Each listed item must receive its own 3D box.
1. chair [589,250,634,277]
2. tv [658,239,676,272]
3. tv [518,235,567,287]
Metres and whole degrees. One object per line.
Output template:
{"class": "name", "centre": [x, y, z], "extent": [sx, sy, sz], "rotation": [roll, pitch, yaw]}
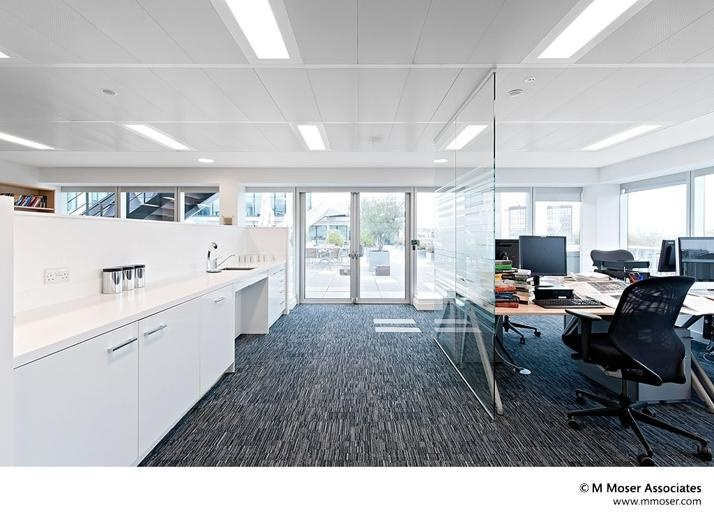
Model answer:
{"class": "chair", "centre": [2.895, 0.051, 4.589], "extent": [0.381, 0.257, 0.388], "rotation": [-1, -4, 3]}
{"class": "tv", "centre": [3.139, -0.003, 4.100], "extent": [0.129, 0.353, 0.376], "rotation": [-1, 0, 32]}
{"class": "tv", "centre": [1.724, 0.035, 3.777], "extent": [0.489, 0.463, 0.168], "rotation": [0, -5, 2]}
